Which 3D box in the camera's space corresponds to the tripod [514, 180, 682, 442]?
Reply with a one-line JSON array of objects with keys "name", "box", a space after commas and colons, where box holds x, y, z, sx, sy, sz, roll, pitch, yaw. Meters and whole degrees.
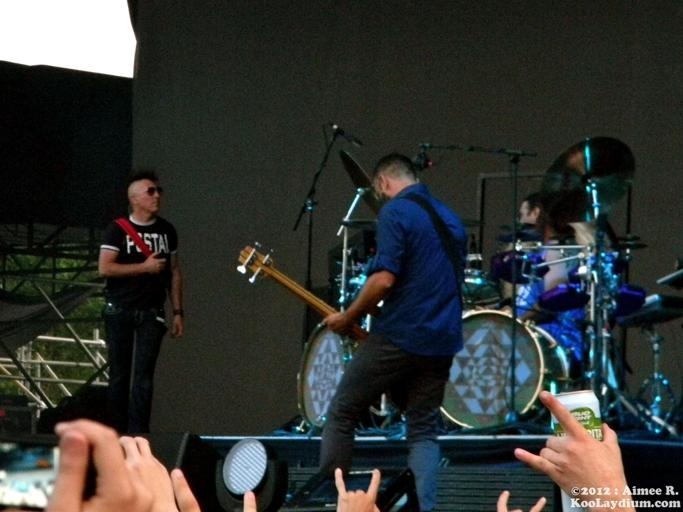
[{"name": "tripod", "box": [1.697, 0.362, 5.907, 1.236, 1.758, 1.273, 0, 1, 35]}]

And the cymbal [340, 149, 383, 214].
[{"name": "cymbal", "box": [0.146, -0.541, 6.173, 0.105, 0.439, 0.385, -34, 44, -14]}]

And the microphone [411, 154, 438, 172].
[{"name": "microphone", "box": [0.644, -0.717, 6.643, 0.116, 0.072, 0.171, 2, -19, 12]}]
